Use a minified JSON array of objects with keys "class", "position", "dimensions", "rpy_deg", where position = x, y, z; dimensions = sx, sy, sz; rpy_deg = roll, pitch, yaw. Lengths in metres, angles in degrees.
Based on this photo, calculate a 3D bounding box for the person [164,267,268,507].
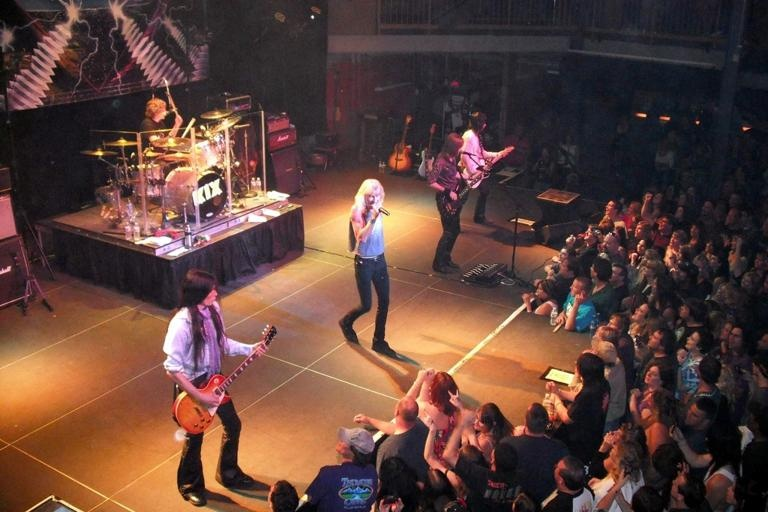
[{"class":"person","position":[-2.058,1.705,6.881],"dimensions":[1.159,3.306,1.300],"rpy_deg":[11,26,13]}]

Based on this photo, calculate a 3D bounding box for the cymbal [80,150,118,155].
[{"class":"cymbal","position":[-5.137,-1.878,10.260],"dimensions":[0.360,0.076,0.367],"rpy_deg":[16,20,29]}]

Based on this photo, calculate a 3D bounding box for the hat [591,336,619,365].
[{"class":"hat","position":[2.646,1.111,6.730],"dimensions":[0.278,0.346,0.340],"rpy_deg":[-7,-4,-34]}]

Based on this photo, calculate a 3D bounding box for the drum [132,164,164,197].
[{"class":"drum","position":[-4.247,-1.371,10.310],"dimensions":[0.595,0.596,0.528],"rpy_deg":[4,12,-15]}]

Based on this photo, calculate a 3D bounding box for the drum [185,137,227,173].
[{"class":"drum","position":[-3.348,-1.876,10.591],"dimensions":[0.695,0.593,0.619],"rpy_deg":[-11,19,-27]}]

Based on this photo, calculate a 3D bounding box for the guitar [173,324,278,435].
[{"class":"guitar","position":[-1.877,1.525,6.697],"dimensions":[0.220,0.599,1.638],"rpy_deg":[11,50,48]}]

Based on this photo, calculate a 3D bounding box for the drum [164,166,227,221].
[{"class":"drum","position":[-3.439,-1.165,10.407],"dimensions":[0.773,0.990,0.994],"rpy_deg":[15,27,22]}]

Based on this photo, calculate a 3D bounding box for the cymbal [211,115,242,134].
[{"class":"cymbal","position":[-3.044,-2.500,10.829],"dimensions":[0.499,0.298,0.938],"rpy_deg":[-2,22,-13]}]

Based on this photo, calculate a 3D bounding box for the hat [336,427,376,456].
[{"class":"hat","position":[-0.264,1.735,5.371],"dimensions":[0.338,0.188,0.238],"rpy_deg":[6,22,7]}]

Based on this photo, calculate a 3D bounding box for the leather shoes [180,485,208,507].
[{"class":"leather shoes","position":[-2.151,2.734,6.447],"dimensions":[0.316,0.117,0.169],"rpy_deg":[23,63,16]}]

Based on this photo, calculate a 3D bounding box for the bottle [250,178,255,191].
[{"class":"bottle","position":[-2.725,-1.479,11.782],"dimensions":[0.050,0.262,0.192],"rpy_deg":[-6,23,-22]}]

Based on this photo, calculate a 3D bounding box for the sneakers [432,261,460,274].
[{"class":"sneakers","position":[1.243,0.219,11.154],"dimensions":[0.295,0.229,0.375],"rpy_deg":[2,9,27]}]

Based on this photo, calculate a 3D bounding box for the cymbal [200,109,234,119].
[{"class":"cymbal","position":[-3.231,-2.799,11.076],"dimensions":[0.474,0.113,0.480],"rpy_deg":[27,43,34]}]
